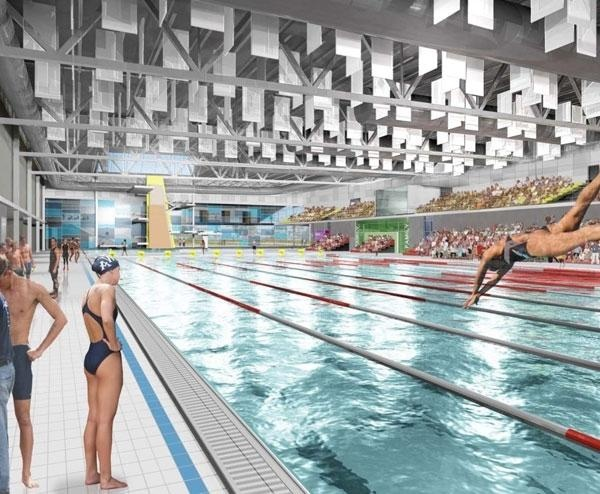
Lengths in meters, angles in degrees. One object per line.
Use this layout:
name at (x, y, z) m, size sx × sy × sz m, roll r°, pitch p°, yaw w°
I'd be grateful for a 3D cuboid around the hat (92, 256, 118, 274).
hat at (-1.441, 0.135, 3.086) m, size 0.139 × 0.124 × 0.178 m, roll -2°, pitch -6°, yaw 8°

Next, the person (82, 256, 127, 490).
person at (-1.396, 0.862, 2.951) m, size 0.266 × 1.579 × 0.466 m, roll -1°, pitch 4°, yaw -25°
